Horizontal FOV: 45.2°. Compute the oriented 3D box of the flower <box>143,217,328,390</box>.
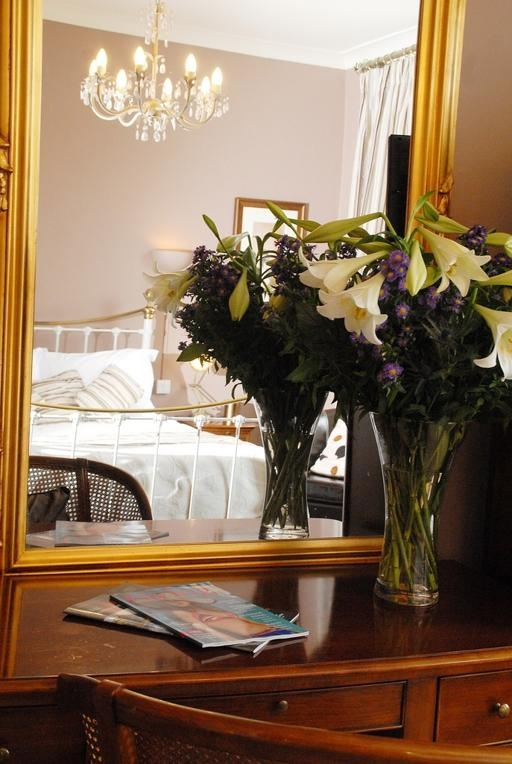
[{"bbox_3d":[-0.023,-0.124,1.199,0.316,0.311,0.313,15,2,10],"label":"flower"}]
